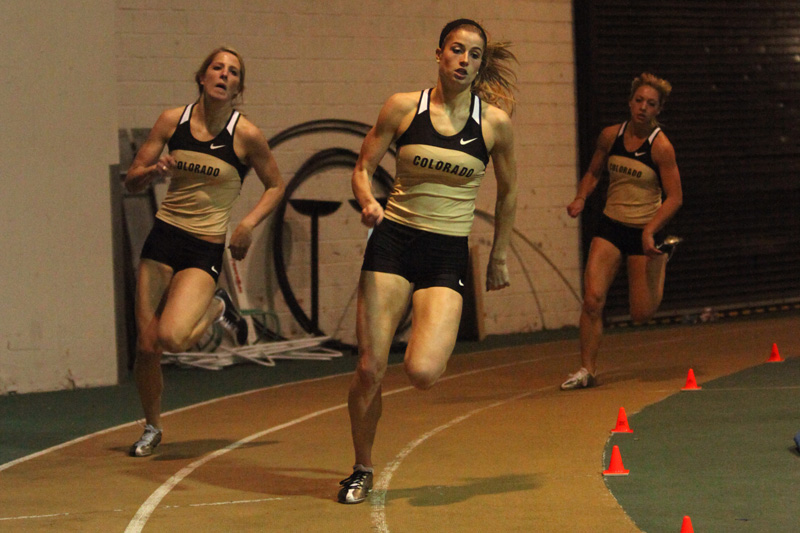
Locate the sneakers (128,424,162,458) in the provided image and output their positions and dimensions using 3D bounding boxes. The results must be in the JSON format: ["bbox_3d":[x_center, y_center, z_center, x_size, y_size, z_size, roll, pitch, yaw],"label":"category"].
[{"bbox_3d":[-1.902,1.306,6.355,0.117,0.146,0.335,11,4,9],"label":"sneakers"}]

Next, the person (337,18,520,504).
[{"bbox_3d":[0.164,-0.024,5.354,1.019,3.028,0.789,5,11,4],"label":"person"}]

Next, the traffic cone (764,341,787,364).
[{"bbox_3d":[3.973,0.894,8.875,0.223,0.255,0.242,-1,3,3],"label":"traffic cone"}]

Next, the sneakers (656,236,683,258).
[{"bbox_3d":[2.965,-0.222,9.362,0.246,0.144,0.336,-20,-7,34],"label":"sneakers"}]

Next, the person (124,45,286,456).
[{"bbox_3d":[-1.515,-0.104,6.357,1.032,3.014,0.876,-1,12,-22],"label":"person"}]

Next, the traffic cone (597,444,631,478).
[{"bbox_3d":[1.472,1.340,5.803,0.180,0.199,0.173,-1,-8,7],"label":"traffic cone"}]

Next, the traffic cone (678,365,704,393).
[{"bbox_3d":[2.714,1.044,7.839,0.205,0.227,0.208,-2,1,4],"label":"traffic cone"}]

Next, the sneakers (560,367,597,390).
[{"bbox_3d":[1.676,1.052,7.999,0.425,0.186,0.153,-3,16,-17],"label":"sneakers"}]

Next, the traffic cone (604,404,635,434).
[{"bbox_3d":[1.715,1.195,6.634,0.186,0.218,0.183,-3,4,3],"label":"traffic cone"}]

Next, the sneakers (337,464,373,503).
[{"bbox_3d":[-0.287,1.394,5.388,0.133,0.116,0.274,4,2,22],"label":"sneakers"}]

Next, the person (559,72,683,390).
[{"bbox_3d":[2.109,-0.327,7.975,0.943,2.925,0.930,6,11,11],"label":"person"}]
